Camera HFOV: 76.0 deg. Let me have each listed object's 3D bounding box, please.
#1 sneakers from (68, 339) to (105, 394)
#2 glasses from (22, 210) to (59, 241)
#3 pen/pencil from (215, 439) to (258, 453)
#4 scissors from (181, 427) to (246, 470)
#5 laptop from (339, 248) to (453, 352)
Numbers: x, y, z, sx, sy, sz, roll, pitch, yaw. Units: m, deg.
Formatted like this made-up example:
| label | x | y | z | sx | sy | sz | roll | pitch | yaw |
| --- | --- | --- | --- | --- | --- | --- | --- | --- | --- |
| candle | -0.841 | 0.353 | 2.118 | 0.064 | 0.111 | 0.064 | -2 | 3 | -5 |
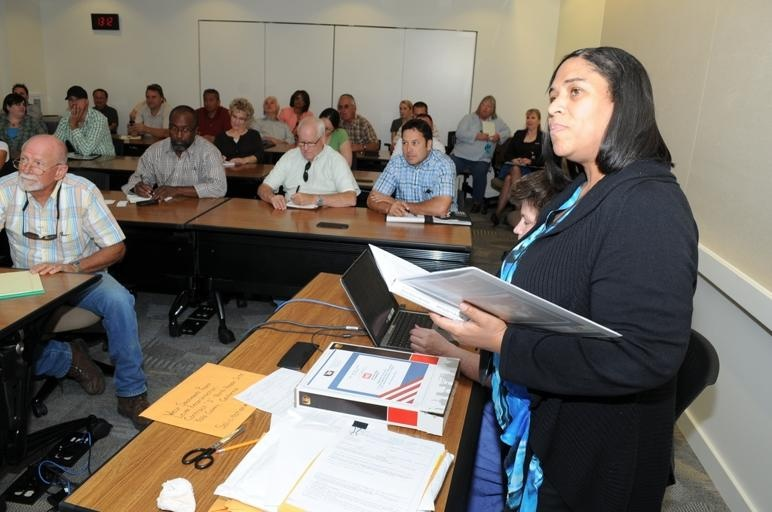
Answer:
| label | x | y | z | sx | sy | sz | roll | pitch | yaw |
| --- | --- | --- | --- | --- | --- | --- | --- | --- | --- |
| sneakers | -1.796 | 0.684 | 2.982 | 0.106 | 0.316 | 0.153 | -19 | 21 | 20 |
| glasses | -1.910 | -0.160 | 2.768 | 0.156 | 0.163 | 0.049 | -1 | 13 | 0 |
| pen/pencil | -0.459 | 0.596 | 1.530 | 0.074 | 0.010 | 0.017 | -18 | 31 | -18 |
| scissors | -0.518 | 0.602 | 1.544 | 0.110 | 0.016 | 0.199 | 7 | 19 | 38 |
| laptop | 0.039 | 0.218 | 2.061 | 0.387 | 0.278 | 0.413 | 9 | 28 | 6 |
